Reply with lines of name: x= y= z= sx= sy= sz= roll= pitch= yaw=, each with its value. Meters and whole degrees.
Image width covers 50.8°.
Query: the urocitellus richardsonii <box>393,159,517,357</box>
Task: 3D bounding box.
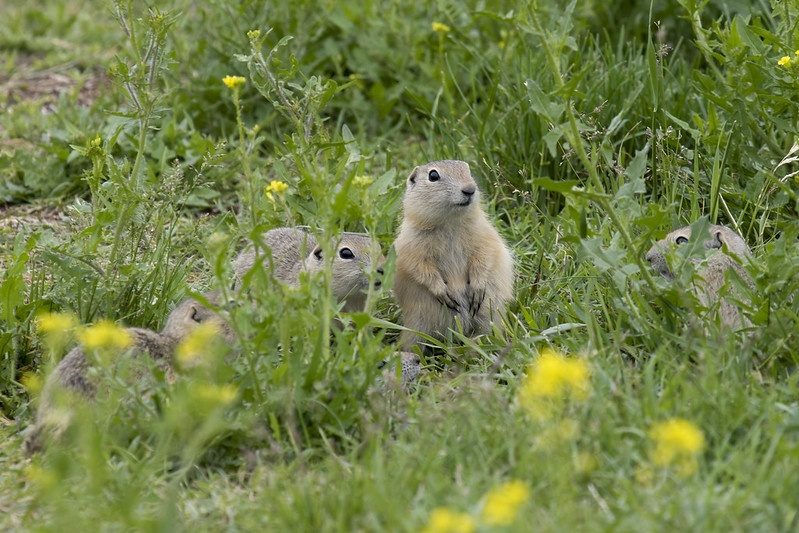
urocitellus richardsonii: x=0.426 y=-0.067 z=6.993 sx=1.237 sy=1.252 sz=1.614 roll=-2 pitch=90 yaw=-11
